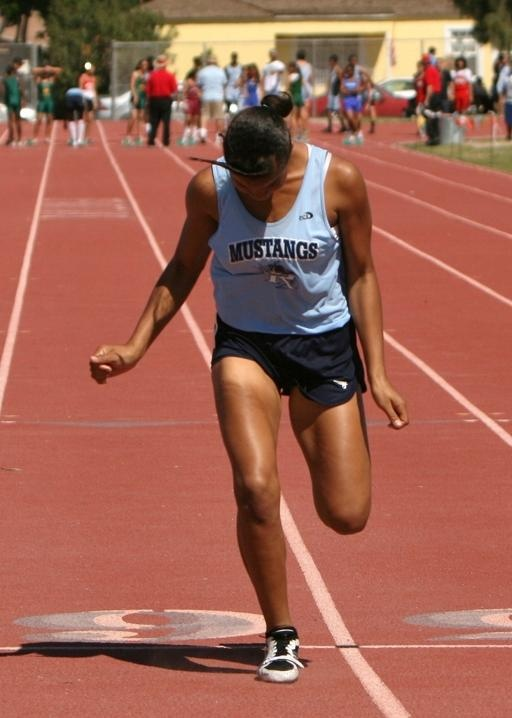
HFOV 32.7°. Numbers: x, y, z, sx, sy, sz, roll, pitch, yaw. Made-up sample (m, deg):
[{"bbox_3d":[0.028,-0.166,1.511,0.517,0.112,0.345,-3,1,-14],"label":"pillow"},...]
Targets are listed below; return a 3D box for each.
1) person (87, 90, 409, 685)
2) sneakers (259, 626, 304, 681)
[{"bbox_3d":[0.021,0.056,2.175,0.618,1.306,0.599,8,13,43],"label":"person"},{"bbox_3d":[0.060,0.654,1.942,0.071,0.058,0.151,0,9,1],"label":"sneakers"}]
